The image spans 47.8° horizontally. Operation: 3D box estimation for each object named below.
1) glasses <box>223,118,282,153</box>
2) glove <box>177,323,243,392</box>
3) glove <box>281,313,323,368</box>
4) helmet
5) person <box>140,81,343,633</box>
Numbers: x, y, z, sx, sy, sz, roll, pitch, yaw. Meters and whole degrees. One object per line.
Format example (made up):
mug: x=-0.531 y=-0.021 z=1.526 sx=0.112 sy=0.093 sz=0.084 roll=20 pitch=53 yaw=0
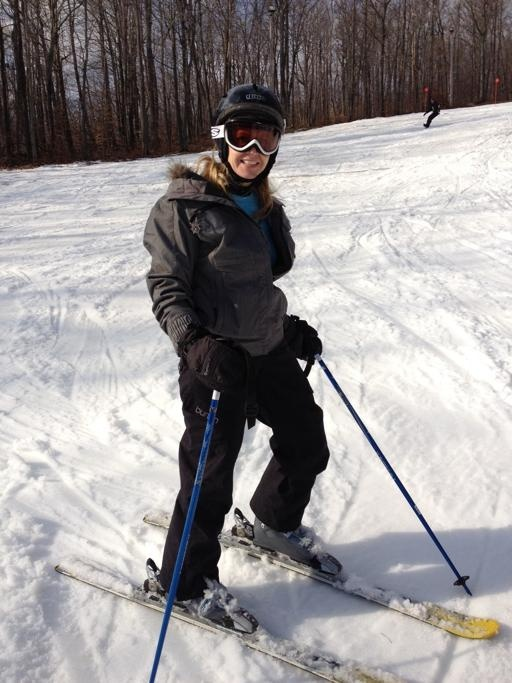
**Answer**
glasses: x=0.004 y=-0.728 z=2.075 sx=0.252 sy=0.123 sz=0.115 roll=-17 pitch=19 yaw=-41
glove: x=-0.140 y=0.065 z=1.923 sx=0.260 sy=0.158 sz=0.102 roll=39 pitch=-2 yaw=8
glove: x=0.188 y=-0.011 z=2.441 sx=0.211 sy=0.090 sz=0.151 roll=53 pitch=15 yaw=31
helmet: x=0.016 y=-0.794 z=2.233 sx=0.274 sy=0.358 sz=0.340 roll=6 pitch=12 yaw=-13
person: x=-0.071 y=0.072 z=2.164 sx=0.783 sy=1.976 sz=0.459 roll=-18 pitch=19 yaw=-42
